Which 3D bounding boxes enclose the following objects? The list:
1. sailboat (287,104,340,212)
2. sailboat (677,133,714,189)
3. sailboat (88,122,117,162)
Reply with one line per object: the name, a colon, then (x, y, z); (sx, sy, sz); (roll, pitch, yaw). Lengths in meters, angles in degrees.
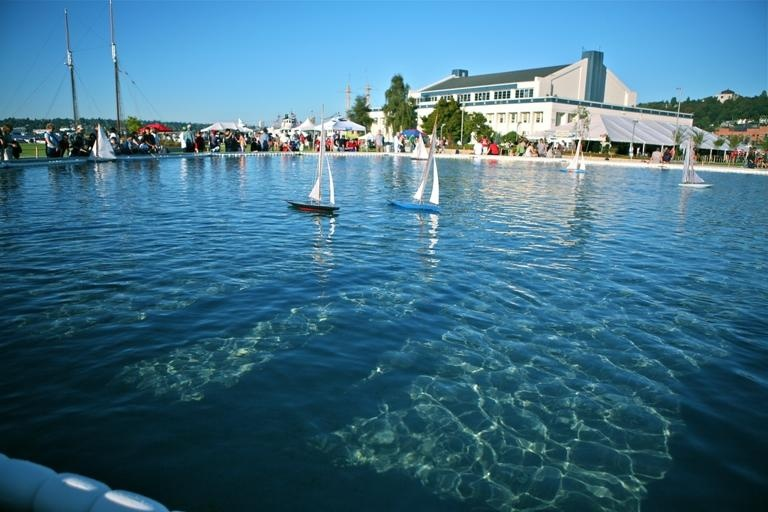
sailboat: (-4.253, -6.729, 36.221); (2.031, 4.502, 31.176); (0, 14, -6)
sailboat: (23.795, -7.239, 41.980); (1.783, 3.490, 10.169); (8, 15, 28)
sailboat: (-22.241, -8.733, 43.148); (1.578, 2.589, 2.273); (-1, 13, -11)
